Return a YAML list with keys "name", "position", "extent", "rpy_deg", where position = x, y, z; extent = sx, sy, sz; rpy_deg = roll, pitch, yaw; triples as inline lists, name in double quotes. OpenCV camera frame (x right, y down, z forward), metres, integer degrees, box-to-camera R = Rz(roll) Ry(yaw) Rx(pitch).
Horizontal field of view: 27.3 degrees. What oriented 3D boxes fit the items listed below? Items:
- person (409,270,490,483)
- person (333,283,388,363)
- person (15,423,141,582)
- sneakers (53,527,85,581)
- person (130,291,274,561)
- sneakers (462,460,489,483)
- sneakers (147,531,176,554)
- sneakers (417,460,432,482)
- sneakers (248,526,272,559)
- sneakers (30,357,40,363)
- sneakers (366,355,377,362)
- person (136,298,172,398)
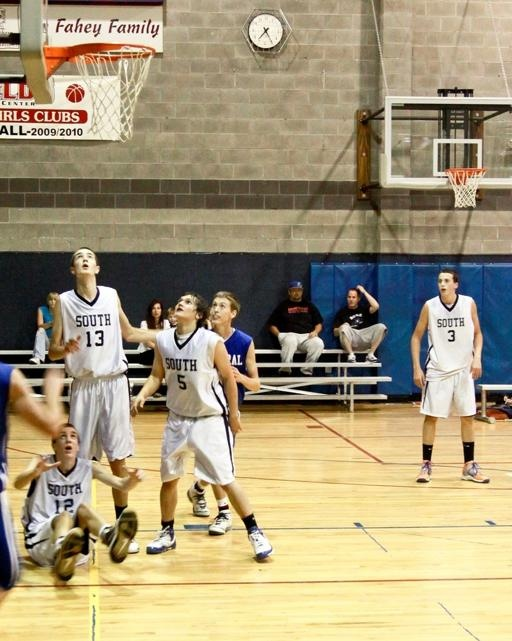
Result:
- name: "person"
  position: [1.521, 0.427, 8.336]
  extent: [0.598, 1.655, 0.493]
  rpy_deg: [1, 4, 8]
- name: "person"
  position: [1.217, 0.070, 12.823]
  extent: [0.630, 1.297, 0.813]
  rpy_deg: [1, -10, -4]
- name: "person"
  position: [-1.071, 1.044, 6.283]
  extent: [0.579, 0.931, 1.011]
  rpy_deg: [7, -11, -31]
- name: "sneakers"
  position: [-1.080, 1.303, 6.082]
  extent: [0.124, 0.413, 0.179]
  rpy_deg: [7, 23, -27]
- name: "person"
  position: [-0.343, 0.650, 6.499]
  extent: [0.828, 1.623, 0.406]
  rpy_deg: [0, 4, -1]
- name: "sneakers"
  position: [1.732, 1.193, 8.256]
  extent: [0.093, 0.175, 0.249]
  rpy_deg: [1, -3, -32]
- name: "sneakers"
  position: [-0.629, 1.388, 6.616]
  extent: [0.232, 0.177, 0.085]
  rpy_deg: [2, -6, -26]
- name: "sneakers"
  position: [1.325, 1.206, 8.322]
  extent: [0.072, 0.143, 0.224]
  rpy_deg: [-2, -19, 13]
- name: "sneakers"
  position: [0.028, 1.365, 6.485]
  extent: [0.085, 0.104, 0.247]
  rpy_deg: [-25, 3, -5]
- name: "sneakers"
  position: [-2.457, 0.451, 11.808]
  extent: [0.097, 0.073, 0.178]
  rpy_deg: [-1, 5, -12]
- name: "sneakers"
  position: [1.353, 0.443, 12.502]
  extent: [0.113, 0.089, 0.142]
  rpy_deg: [0, 5, 1]
- name: "person"
  position: [-1.129, 0.271, 12.085]
  extent: [0.311, 0.986, 0.477]
  rpy_deg: [-4, -9, -1]
